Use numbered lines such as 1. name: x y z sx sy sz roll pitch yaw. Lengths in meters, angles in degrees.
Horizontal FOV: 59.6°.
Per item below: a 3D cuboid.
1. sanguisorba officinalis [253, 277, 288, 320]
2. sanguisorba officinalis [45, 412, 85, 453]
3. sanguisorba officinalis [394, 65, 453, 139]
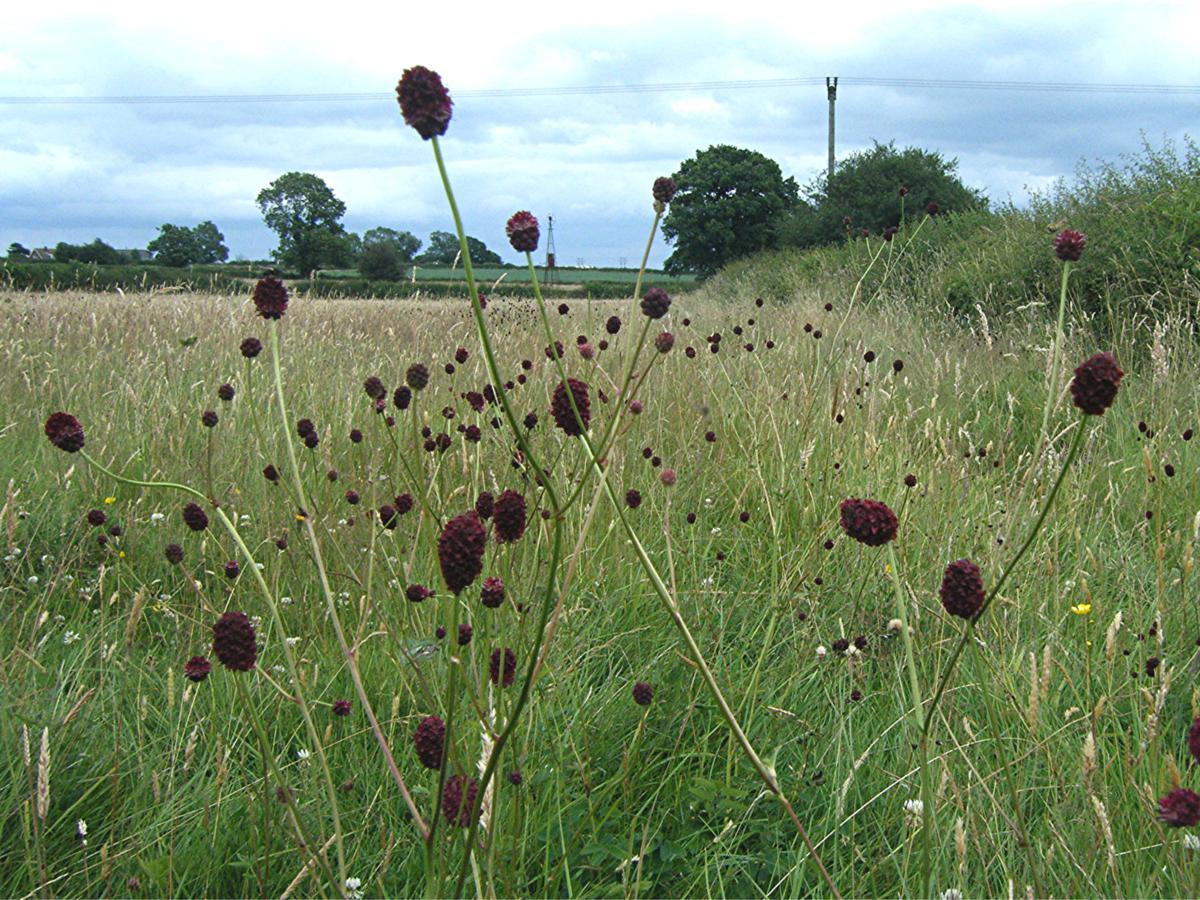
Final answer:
1. sanguisorba officinalis: -1.113 -0.505 3.543 0.106 0.144 0.236 -4 6 -19
2. sanguisorba officinalis: -1.910 -0.055 3.741 0.108 0.157 0.320 -5 7 -29
3. sanguisorba officinalis: -0.539 -1.067 3.233 0.152 0.242 0.135 -3 6 -11
